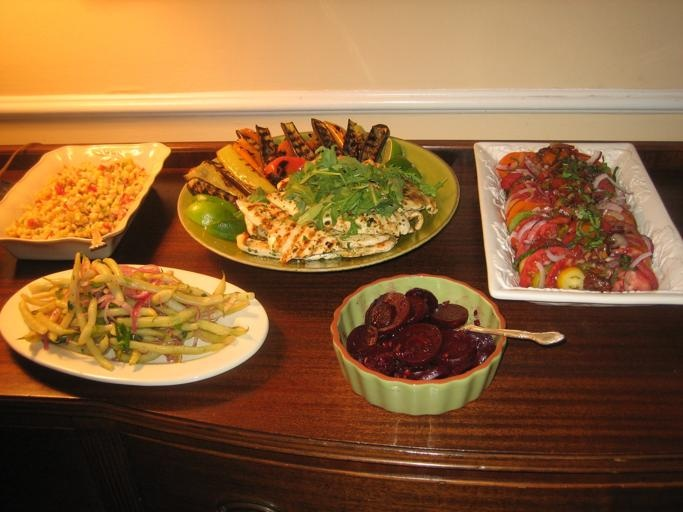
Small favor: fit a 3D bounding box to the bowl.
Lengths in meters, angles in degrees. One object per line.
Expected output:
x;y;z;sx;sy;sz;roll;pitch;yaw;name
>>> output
0.168;0.184;1.134;0.322;0.155;0.335;-4;49;5;bowl
